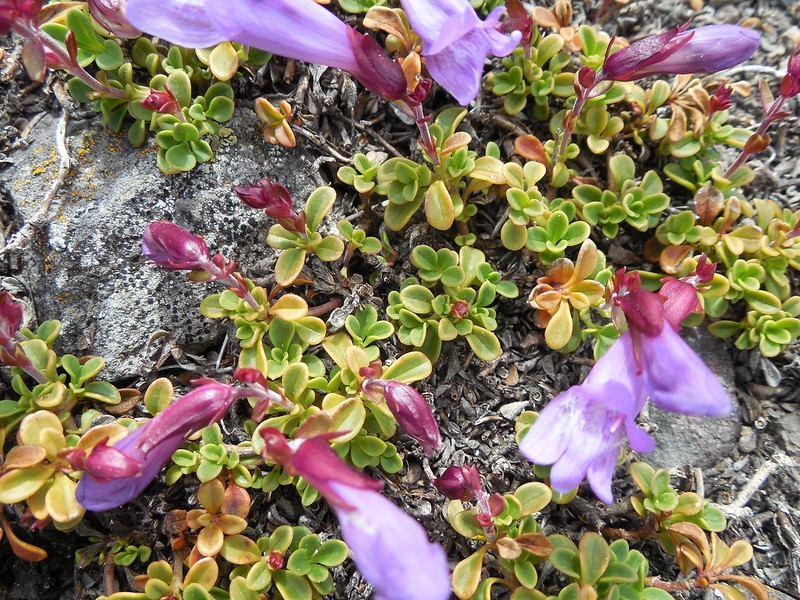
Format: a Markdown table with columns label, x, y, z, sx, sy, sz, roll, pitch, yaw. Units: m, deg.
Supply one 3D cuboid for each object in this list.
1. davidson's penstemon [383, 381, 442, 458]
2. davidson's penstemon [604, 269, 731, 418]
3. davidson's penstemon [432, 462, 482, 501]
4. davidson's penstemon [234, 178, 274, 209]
| label | x | y | z | sx | sy | sz | roll | pitch | yaw |
| --- | --- | --- | --- | --- | --- | --- | --- | --- | --- |
| davidson's penstemon | 0.069 | 0.562 | 3.772 | 0.176 | 0.148 | 0.415 | -34 | 86 | -18 |
| davidson's penstemon | 1.262 | 0.218 | 3.525 | 0.440 | 0.295 | 0.938 | -11 | 54 | 5 |
| davidson's penstemon | 0.290 | 0.902 | 3.737 | 0.203 | 0.176 | 0.144 | 4 | 61 | -8 |
| davidson's penstemon | -0.746 | -0.546 | 3.864 | 0.193 | 0.163 | 0.140 | 10 | 42 | -12 |
